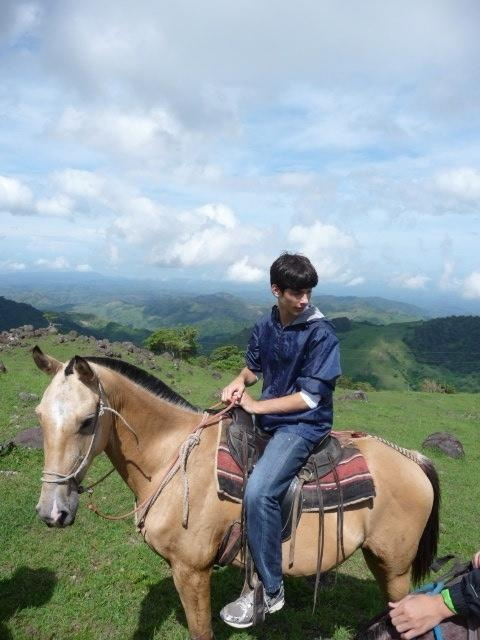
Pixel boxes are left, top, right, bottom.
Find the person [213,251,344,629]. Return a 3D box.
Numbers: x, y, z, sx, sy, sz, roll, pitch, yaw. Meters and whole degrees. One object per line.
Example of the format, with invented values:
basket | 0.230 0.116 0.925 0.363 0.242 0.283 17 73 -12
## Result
person | 0.375 0.972 4.061 0.966 3.182 1.062 3 4 -7
